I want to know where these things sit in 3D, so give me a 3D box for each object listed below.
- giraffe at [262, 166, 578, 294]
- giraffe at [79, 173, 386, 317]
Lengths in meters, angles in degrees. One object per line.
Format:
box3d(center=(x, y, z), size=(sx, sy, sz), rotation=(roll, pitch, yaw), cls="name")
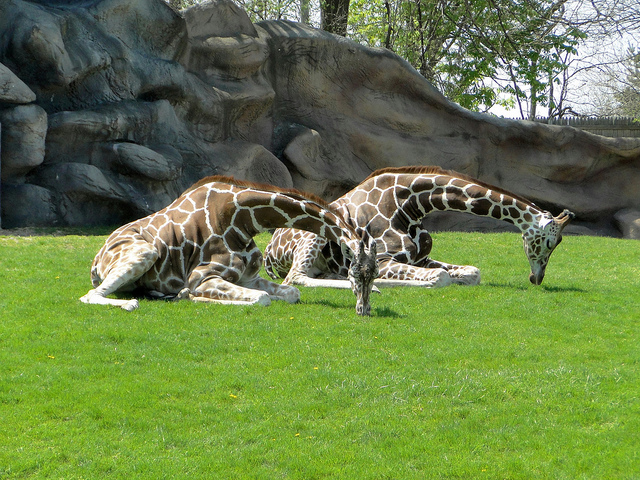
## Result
box3d(center=(1.589, -0.129, 18.775), size=(6.759, 2.718, 2.258), rotation=(-1, -2, 18), cls="giraffe")
box3d(center=(-1.336, 0.153, 16.515), size=(3.817, 1.764, 2.452), rotation=(2, 0, 7), cls="giraffe")
